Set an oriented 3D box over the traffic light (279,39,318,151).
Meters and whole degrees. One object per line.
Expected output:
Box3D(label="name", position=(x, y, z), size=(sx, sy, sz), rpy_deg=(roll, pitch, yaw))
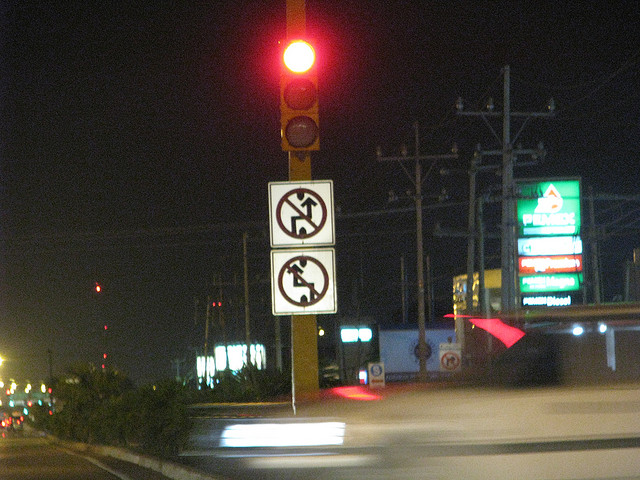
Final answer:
Box3D(label="traffic light", position=(-0.308, -1.988, 12.878), size=(0.378, 2.133, 0.681), rpy_deg=(-3, 8, -9))
